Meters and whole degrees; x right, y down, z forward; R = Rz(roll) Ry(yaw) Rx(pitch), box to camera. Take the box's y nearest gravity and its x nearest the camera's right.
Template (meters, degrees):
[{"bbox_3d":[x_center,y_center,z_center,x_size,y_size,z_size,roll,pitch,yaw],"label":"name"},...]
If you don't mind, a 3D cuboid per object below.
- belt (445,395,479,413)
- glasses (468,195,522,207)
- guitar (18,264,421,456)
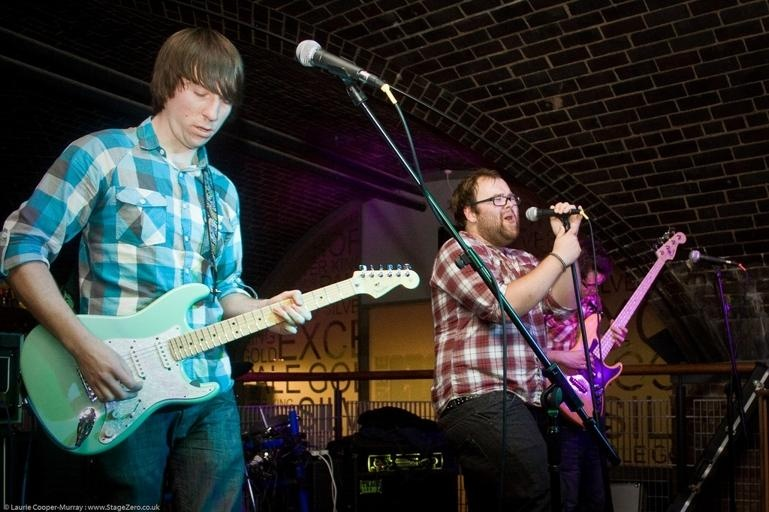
[{"bbox_3d":[0.385,0.729,2.944,0.191,0.083,0.023,-11,-20,36],"label":"belt"},{"bbox_3d":[0.626,-0.301,3.234,0.126,0.034,0.123,-12,-6,27],"label":"glasses"},{"bbox_3d":[-0.827,0.730,4.076,2.519,0.883,0.365,-16,-11,-23],"label":"guitar"}]
